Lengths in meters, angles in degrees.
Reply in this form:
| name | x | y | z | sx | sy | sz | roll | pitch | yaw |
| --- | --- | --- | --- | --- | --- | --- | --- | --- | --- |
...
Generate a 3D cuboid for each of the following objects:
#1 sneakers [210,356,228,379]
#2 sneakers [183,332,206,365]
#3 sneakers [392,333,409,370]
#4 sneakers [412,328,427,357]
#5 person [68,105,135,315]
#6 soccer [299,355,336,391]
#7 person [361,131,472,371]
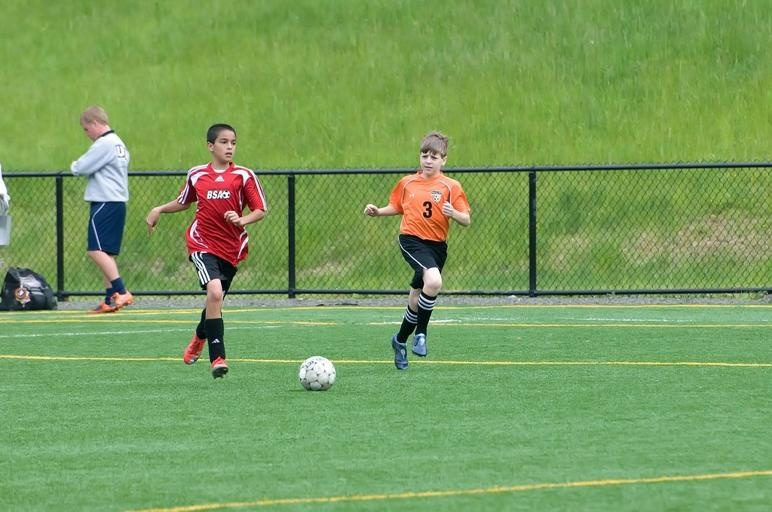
| name | x | y | z | sx | sy | sz | roll | pitch | yaw |
| --- | --- | --- | --- | --- | --- | --- | --- | --- | --- |
| sneakers | -1.746 | 1.167 | 13.431 | 0.115 | 0.267 | 0.135 | 6 | 52 | -17 |
| sneakers | -2.154 | 1.052 | 14.466 | 0.126 | 0.375 | 0.160 | 30 | 0 | -8 |
| sneakers | 0.150 | 1.058 | 14.248 | 0.132 | 0.393 | 0.170 | -5 | -7 | -28 |
| sneakers | 0.376 | 0.991 | 14.415 | 0.138 | 0.252 | 0.180 | 2 | 12 | 6 |
| person | -3.925 | -0.568 | 17.862 | 0.713 | 2.915 | 0.822 | -3 | 12 | -13 |
| soccer | -0.723 | 1.232 | 13.435 | 0.333 | 0.344 | 0.338 | 0 | -13 | 1 |
| person | 0.510 | -0.100 | 14.457 | 0.820 | 2.474 | 1.026 | 1 | 12 | 3 |
